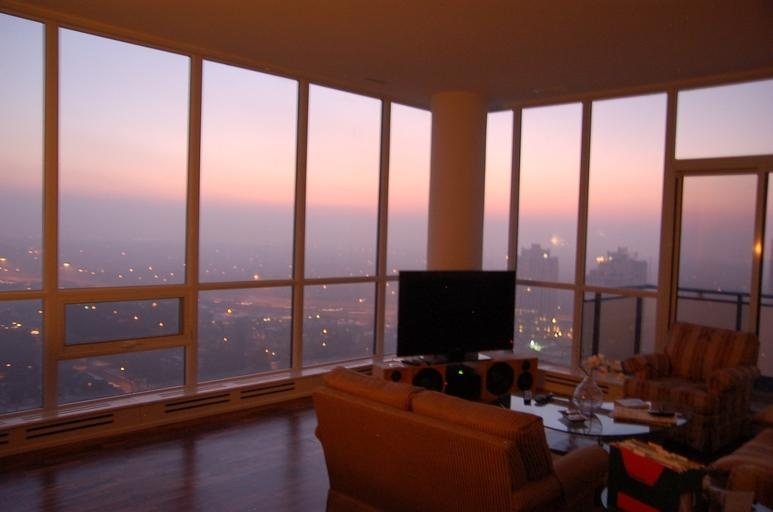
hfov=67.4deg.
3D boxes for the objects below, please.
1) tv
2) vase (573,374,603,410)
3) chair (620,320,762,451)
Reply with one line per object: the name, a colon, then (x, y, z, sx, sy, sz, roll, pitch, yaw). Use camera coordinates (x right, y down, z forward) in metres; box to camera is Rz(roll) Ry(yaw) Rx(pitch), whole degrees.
tv: (0.807, 0.660, 6.822, 1.568, 0.997, 0.404, 2, -3, -23)
vase: (1.869, 1.292, 5.555, 0.323, 0.389, 0.310, 1, -1, 11)
chair: (3.241, 1.319, 6.179, 0.943, 1.001, 1.109, -5, 6, -34)
